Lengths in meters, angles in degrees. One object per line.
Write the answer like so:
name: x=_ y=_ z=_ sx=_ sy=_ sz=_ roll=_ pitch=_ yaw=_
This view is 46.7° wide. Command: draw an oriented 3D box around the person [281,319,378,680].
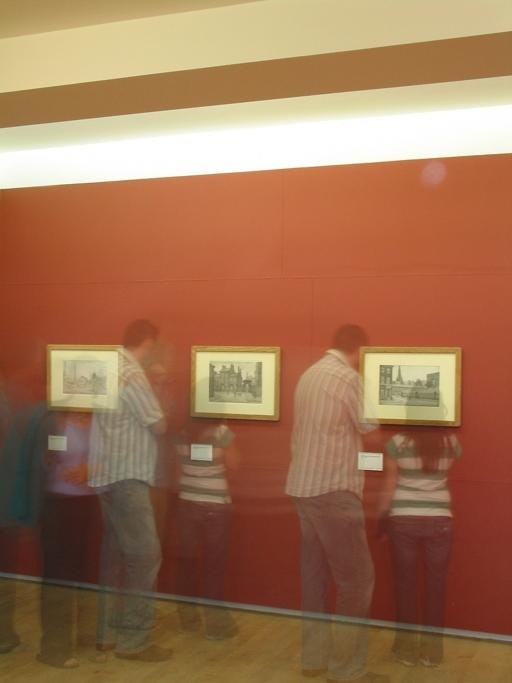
person: x=0.249 y=0.543 z=2.015 sx=0.311 sy=1.179 sz=0.207 roll=-1 pitch=-5 yaw=12

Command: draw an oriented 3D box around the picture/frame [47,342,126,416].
picture/frame: x=-0.648 y=0.137 z=2.304 sx=0.290 sy=0.238 sz=0.022 roll=1 pitch=2 yaw=12

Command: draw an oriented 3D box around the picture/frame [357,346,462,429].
picture/frame: x=0.508 y=0.142 z=1.902 sx=0.270 sy=0.223 sz=0.011 roll=2 pitch=3 yaw=30

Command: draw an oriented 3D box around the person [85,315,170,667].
person: x=-0.495 y=0.572 z=2.287 sx=0.361 sy=1.284 sz=0.169 roll=-2 pitch=-6 yaw=30

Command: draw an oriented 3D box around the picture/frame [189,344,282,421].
picture/frame: x=-0.059 y=0.139 z=2.079 sx=0.274 sy=0.226 sz=0.013 roll=2 pitch=2 yaw=17
